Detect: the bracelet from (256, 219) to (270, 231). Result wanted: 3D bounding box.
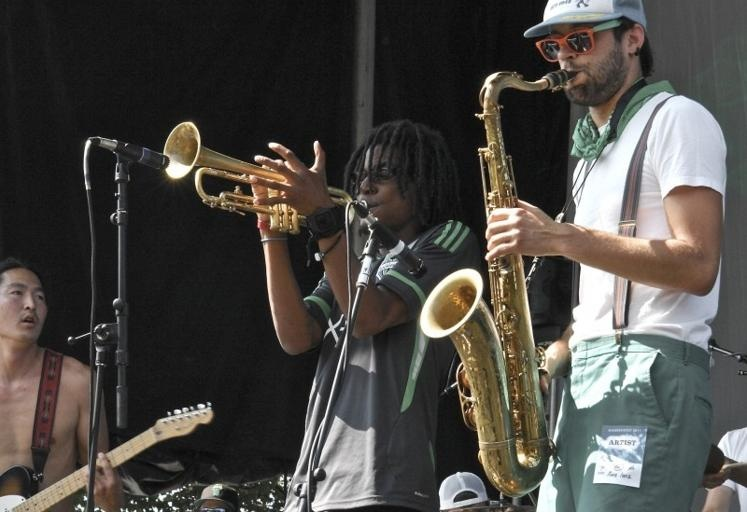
[{"bbox_3d":[-0.578,-0.167,5.568,0.048,0.042,0.059,21,23,5],"label":"bracelet"}]

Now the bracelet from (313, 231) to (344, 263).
[{"bbox_3d":[-0.225,-0.053,5.367,0.067,0.162,0.119,46,9,-12],"label":"bracelet"}]

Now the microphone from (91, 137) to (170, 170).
[{"bbox_3d":[-1.287,-0.543,5.597,0.421,0.196,0.238,2,-14,-10],"label":"microphone"}]
